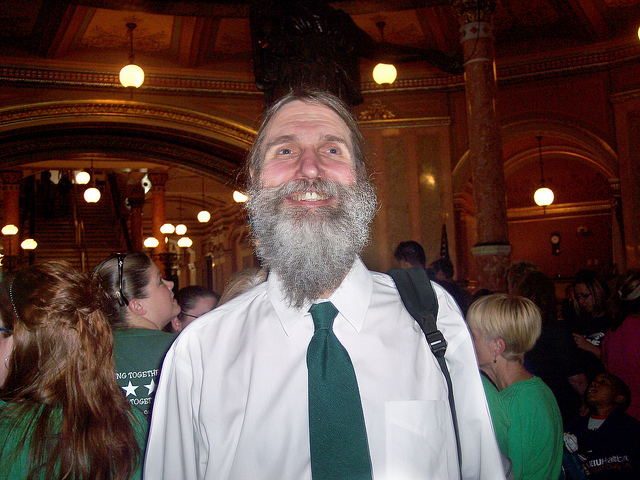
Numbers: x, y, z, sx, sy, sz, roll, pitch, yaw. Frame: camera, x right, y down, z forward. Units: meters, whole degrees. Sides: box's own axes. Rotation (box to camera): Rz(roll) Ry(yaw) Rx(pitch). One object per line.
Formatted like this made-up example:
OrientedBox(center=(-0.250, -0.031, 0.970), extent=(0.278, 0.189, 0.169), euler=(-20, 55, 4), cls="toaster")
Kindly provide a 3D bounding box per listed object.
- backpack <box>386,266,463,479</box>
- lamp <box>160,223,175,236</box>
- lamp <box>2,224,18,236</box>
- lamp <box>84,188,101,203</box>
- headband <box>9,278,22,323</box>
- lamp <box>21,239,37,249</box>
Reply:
OrientedBox(center=(0.293, 0.436, 2.082), extent=(0.219, 0.591, 0.339), euler=(-12, -4, 3), cls="backpack")
OrientedBox(center=(-4.252, -0.308, 15.320), extent=(0.351, 0.353, 1.213), euler=(1, -9, -17), cls="lamp")
OrientedBox(center=(-8.007, -0.245, 14.272), extent=(0.308, 0.294, 0.309), euler=(1, 3, 32), cls="lamp")
OrientedBox(center=(-6.002, -1.176, 14.413), extent=(0.422, 0.360, 0.422), euler=(2, 6, 23), cls="lamp")
OrientedBox(center=(-1.330, 0.264, 2.410), extent=(0.087, 0.196, 0.031), euler=(-8, -10, 39), cls="headband")
OrientedBox(center=(-7.359, 0.119, 14.011), extent=(0.283, 0.189, 0.282), euler=(-1, -8, -11), cls="lamp")
